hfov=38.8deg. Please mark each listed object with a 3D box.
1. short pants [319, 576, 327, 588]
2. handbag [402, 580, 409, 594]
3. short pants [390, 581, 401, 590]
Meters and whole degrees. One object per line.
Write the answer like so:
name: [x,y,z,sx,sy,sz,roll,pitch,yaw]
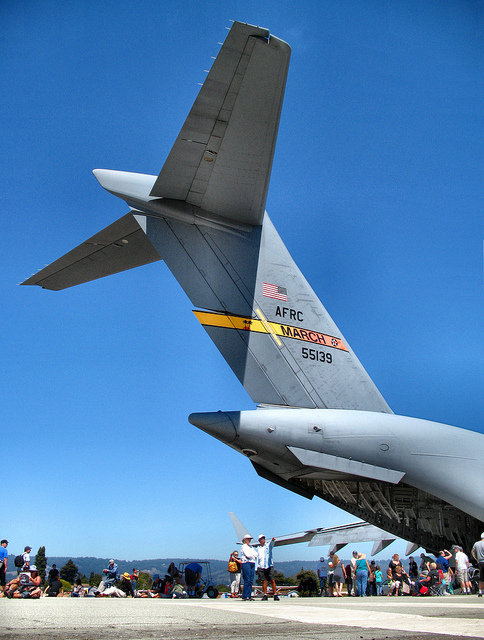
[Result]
short pants: [2.114,6.868,18.045,0.174,0.271,0.391,-2,-24,4]
handbag: [4.318,7.067,18.227,0.150,0.248,0.341,-17,11,1]
short pants: [3.982,6.910,17.973,0.226,0.194,0.069,9,-57,19]
